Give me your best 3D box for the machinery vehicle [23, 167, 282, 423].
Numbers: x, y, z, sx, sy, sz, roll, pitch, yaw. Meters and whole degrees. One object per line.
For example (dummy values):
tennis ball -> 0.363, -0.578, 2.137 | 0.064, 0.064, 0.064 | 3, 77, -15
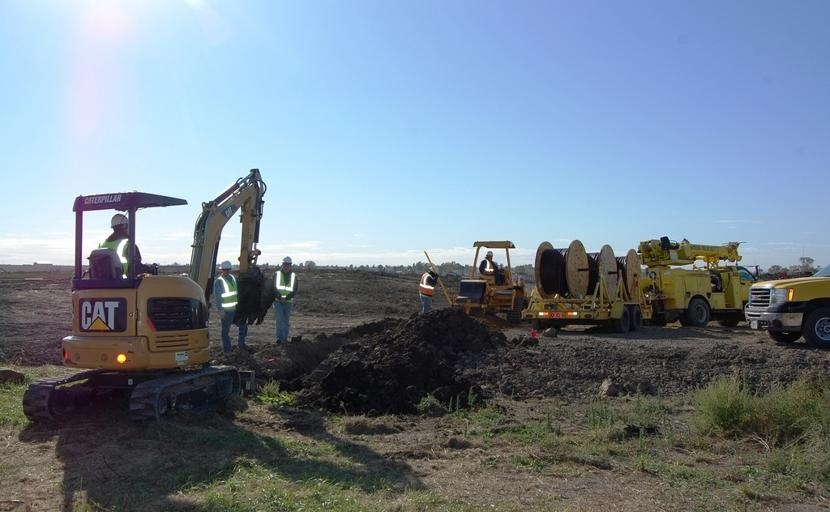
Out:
machinery vehicle -> -5.109, 0.737, 12.327 | 2.889, 4.646, 5.566 | -2, 0, 19

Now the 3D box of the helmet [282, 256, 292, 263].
helmet -> -2.450, 0.100, 10.562 | 0.198, 0.143, 0.290 | 7, -12, -17

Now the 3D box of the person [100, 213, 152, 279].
person -> -5.717, -0.113, 11.066 | 1.135, 1.464, 1.154 | 3, 6, -23

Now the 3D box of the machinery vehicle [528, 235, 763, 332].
machinery vehicle -> 10.101, 1.189, 22.424 | 10.445, 3.667, 3.263 | 0, -12, -25

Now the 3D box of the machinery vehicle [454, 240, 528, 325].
machinery vehicle -> 3.716, 1.106, 25.307 | 3.160, 3.543, 6.452 | 1, 4, 22
